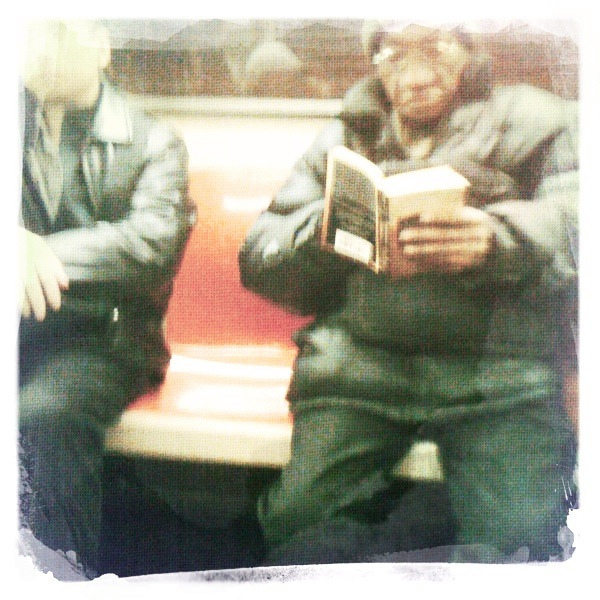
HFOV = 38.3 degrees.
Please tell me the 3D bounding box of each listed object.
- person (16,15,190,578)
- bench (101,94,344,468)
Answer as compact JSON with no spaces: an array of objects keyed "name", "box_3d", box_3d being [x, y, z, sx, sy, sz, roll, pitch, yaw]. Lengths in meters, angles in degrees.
[{"name":"person","box_3d":[-0.309,-0.010,1.351,0.290,0.764,0.417,-3,28,-2]},{"name":"bench","box_3d":[-0.113,0.069,1.575,0.455,0.486,0.728,-1,61,2]}]
